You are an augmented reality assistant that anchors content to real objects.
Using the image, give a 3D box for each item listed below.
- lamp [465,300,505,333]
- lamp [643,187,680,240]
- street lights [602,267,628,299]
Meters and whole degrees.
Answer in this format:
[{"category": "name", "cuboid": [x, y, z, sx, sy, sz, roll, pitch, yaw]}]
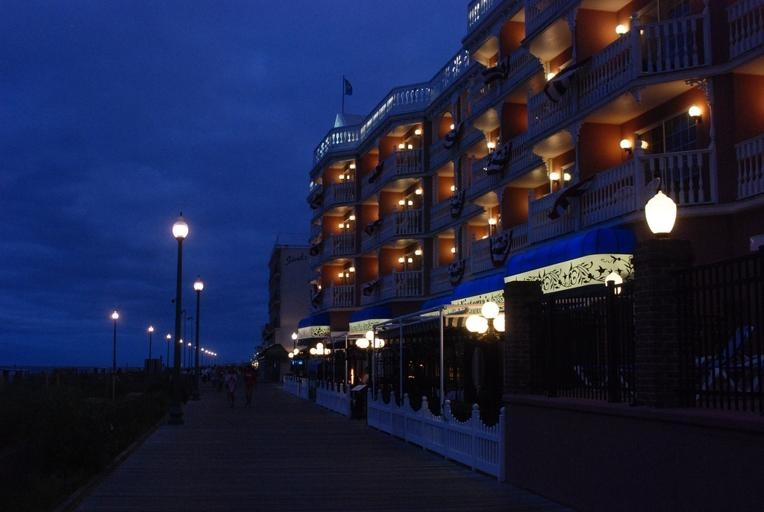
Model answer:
[{"category": "lamp", "cuboid": [3.104, 1.859, 26.339, 1.054, 0.857, 2.016, -2, -14, 5]}, {"category": "lamp", "cuboid": [5.275, -0.793, 16.457, 0.603, 0.917, 0.669, 8, -18, 0]}, {"category": "street lights", "cuboid": [5.534, 0.610, 20.548, 0.537, 1.100, 0.576, 1, -5, -18]}]
